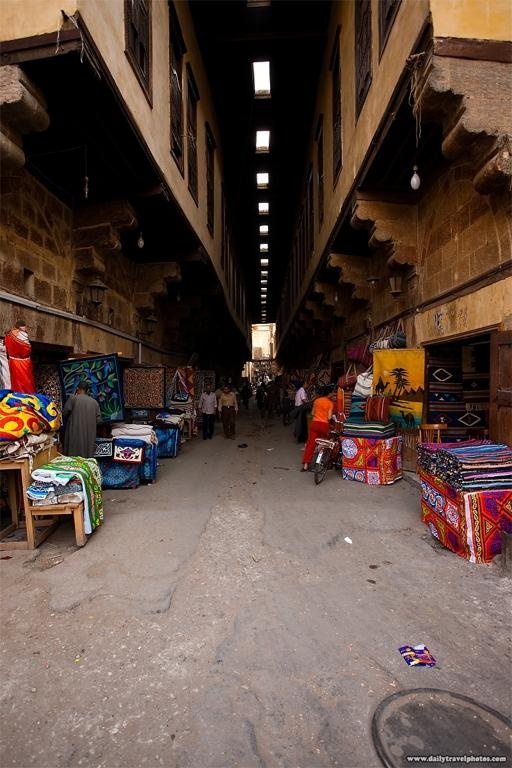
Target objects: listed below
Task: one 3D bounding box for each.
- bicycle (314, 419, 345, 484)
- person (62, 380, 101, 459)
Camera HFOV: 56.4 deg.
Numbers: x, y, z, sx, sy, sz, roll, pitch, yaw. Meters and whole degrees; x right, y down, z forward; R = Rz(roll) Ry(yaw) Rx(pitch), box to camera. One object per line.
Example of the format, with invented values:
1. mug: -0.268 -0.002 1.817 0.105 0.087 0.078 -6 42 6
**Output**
1. bicycle: 1.012 1.042 7.169 0.364 0.642 0.957 -1 5 19
2. person: -2.300 0.563 6.283 0.396 1.347 0.423 1 26 -27
